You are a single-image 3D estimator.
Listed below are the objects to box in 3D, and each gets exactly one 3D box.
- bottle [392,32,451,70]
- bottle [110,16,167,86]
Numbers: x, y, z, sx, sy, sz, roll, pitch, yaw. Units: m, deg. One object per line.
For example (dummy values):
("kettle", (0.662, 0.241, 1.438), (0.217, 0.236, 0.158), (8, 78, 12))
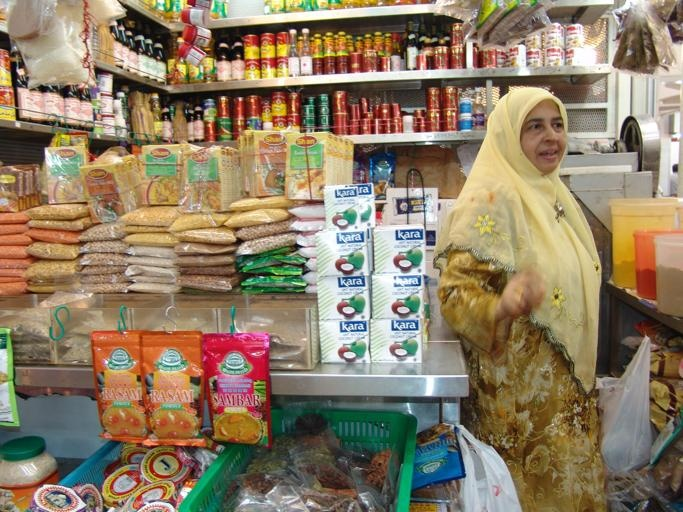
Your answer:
("bottle", (0.628, -1.555, 4.238), (0.602, 0.301, 0.330), (1, 8, 7))
("bottle", (-1.477, -1.500, 4.008), (0.443, 0.540, 0.350), (2, 14, 1))
